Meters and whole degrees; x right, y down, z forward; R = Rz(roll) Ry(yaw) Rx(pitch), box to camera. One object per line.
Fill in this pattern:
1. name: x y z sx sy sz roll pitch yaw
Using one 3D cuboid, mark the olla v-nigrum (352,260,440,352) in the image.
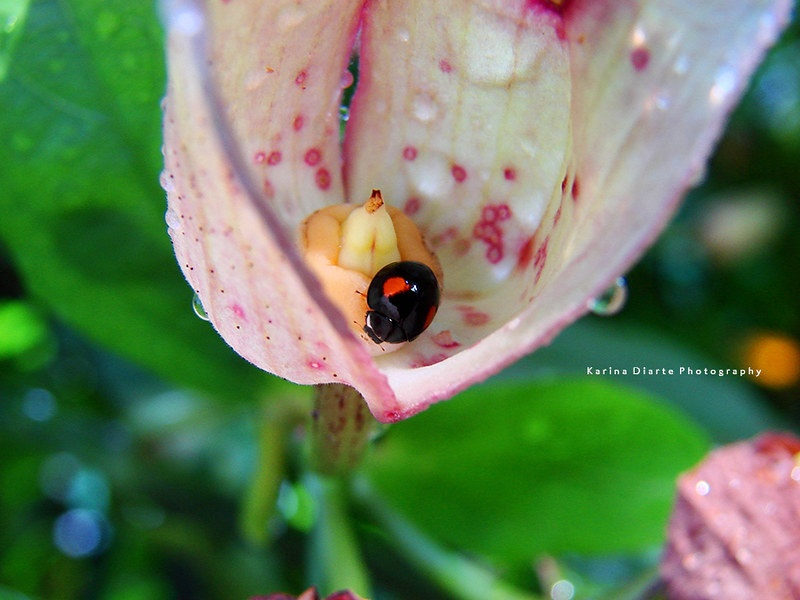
1. olla v-nigrum: -0.001 0.001 0.428 0.042 0.018 0.056 26 68 15
